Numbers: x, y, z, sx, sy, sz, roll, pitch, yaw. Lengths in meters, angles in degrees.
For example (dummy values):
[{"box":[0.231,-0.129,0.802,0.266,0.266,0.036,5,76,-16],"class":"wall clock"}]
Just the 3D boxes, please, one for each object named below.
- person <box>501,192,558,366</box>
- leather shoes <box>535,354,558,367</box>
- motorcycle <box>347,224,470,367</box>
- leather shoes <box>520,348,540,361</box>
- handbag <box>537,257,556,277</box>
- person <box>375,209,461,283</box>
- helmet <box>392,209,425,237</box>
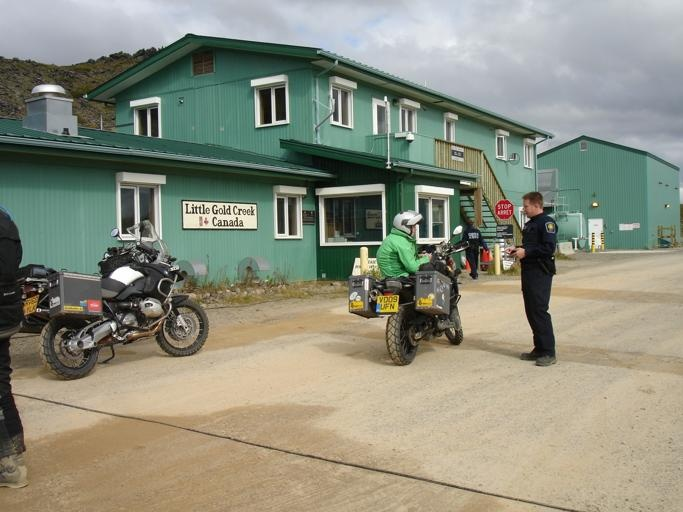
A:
[{"box":[2.586,0.268,7.624,0.557,2.249,0.671,0,4,20],"class":"person"},{"box":[2.666,1.368,7.463,0.121,0.146,0.312,-14,-15,36],"class":"leather shoes"},{"box":[1.019,0.511,7.947,1.166,1.800,1.618,2,5,37],"class":"motorcycle"},{"box":[2.542,1.335,7.728,0.236,0.099,0.109,2,0,17],"class":"leather shoes"},{"box":[2.683,0.139,7.516,0.196,0.222,0.147,-11,-14,-22],"class":"handbag"},{"box":[0.991,-0.193,8.077,1.000,0.958,0.706,-11,20,-16],"class":"person"},{"box":[0.932,-0.474,8.184,0.395,0.330,0.310,0,7,9],"class":"helmet"}]
